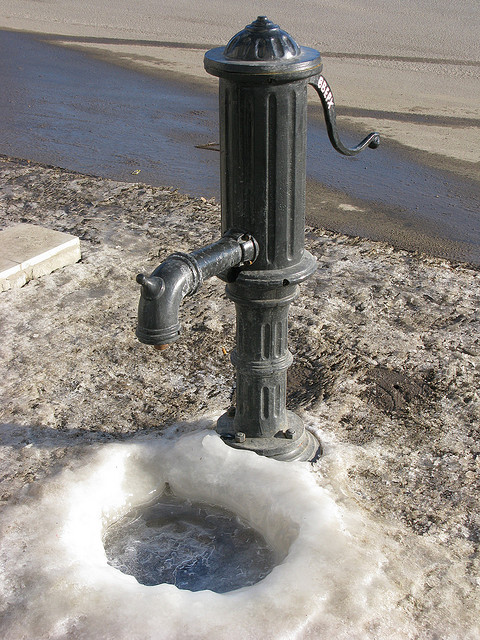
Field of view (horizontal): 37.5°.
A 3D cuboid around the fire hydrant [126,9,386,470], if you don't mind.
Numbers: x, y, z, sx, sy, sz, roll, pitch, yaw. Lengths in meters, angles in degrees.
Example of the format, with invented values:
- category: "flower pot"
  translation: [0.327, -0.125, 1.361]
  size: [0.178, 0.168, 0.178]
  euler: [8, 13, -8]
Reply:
- category: "fire hydrant"
  translation: [0.082, -0.229, 3.169]
  size: [0.542, 2.108, 1.288]
  euler: [13, 25, 26]
